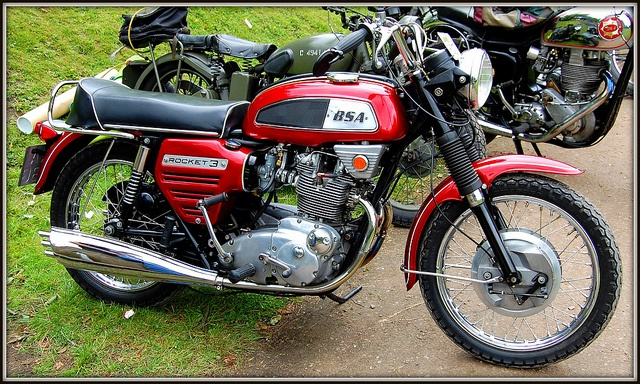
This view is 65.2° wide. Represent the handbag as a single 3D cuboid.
[{"bbox_3d":[-2.216,-2.262,6.701,0.726,0.368,0.579,-9,37,-11],"label":"handbag"}]
